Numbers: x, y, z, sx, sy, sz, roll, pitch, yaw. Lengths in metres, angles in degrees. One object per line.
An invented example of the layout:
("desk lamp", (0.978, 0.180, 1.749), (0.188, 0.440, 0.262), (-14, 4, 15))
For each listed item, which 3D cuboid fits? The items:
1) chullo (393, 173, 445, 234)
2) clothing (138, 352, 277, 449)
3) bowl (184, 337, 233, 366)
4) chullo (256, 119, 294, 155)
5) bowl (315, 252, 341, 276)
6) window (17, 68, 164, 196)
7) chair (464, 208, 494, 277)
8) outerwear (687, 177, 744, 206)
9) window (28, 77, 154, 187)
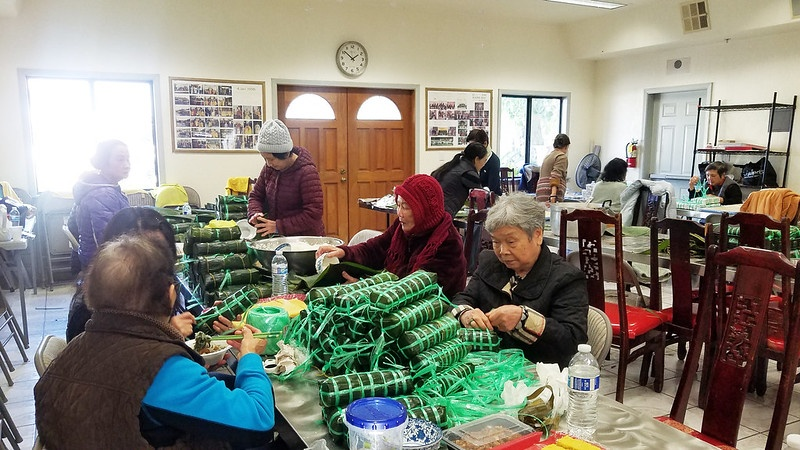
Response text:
("chullo", (0.163, -0.159, 3.540), (0.419, 0.430, 0.350), (1, 9, -19))
("clothing", (-0.917, 0.885, 2.489), (0.549, 0.247, 0.536), (5, 10, -44))
("bowl", (-1.091, 0.752, 3.020), (0.194, 0.065, 0.184), (4, 3, 0))
("chullo", (-1.147, -0.818, 4.651), (0.339, 0.282, 0.322), (-2, 10, -12))
("bowl", (-0.534, 0.277, 3.716), (0.108, 0.161, 0.166), (6, -33, 46))
("window", (-4.192, -1.307, 6.666), (2.233, 1.983, 0.094), (0, -1, -21))
("chair", (0.994, 0.126, 5.582), (0.448, 0.589, 0.427), (8, 15, 16))
("outerwear", (4.422, -0.454, 7.036), (0.649, 0.292, 0.541), (-5, 6, -11))
("window", (-4.182, -1.301, 6.668), (1.934, 1.732, 0.082), (-2, 10, -18))
